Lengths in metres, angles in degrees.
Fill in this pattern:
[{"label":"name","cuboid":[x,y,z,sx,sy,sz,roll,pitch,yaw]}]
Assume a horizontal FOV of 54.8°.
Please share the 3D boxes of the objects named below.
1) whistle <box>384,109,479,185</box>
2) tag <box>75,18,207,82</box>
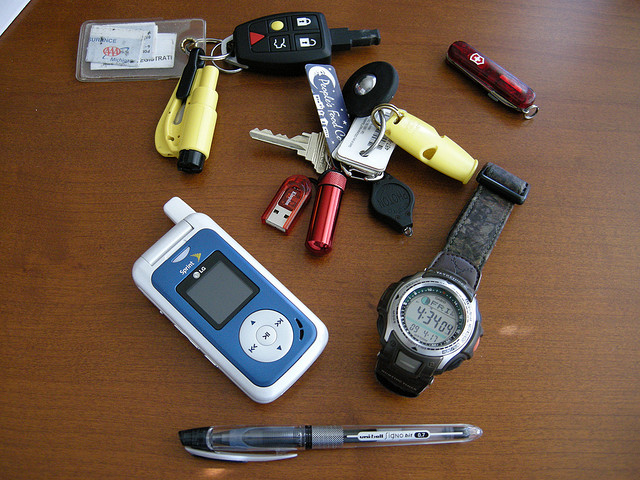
[{"label":"whistle","cuboid":[0.282,-0.230,1.591,0.347,0.092,0.102,31,93,1]},{"label":"tag","cuboid":[-0.493,-0.515,1.667,0.352,0.030,0.149,0,76,-3]}]
